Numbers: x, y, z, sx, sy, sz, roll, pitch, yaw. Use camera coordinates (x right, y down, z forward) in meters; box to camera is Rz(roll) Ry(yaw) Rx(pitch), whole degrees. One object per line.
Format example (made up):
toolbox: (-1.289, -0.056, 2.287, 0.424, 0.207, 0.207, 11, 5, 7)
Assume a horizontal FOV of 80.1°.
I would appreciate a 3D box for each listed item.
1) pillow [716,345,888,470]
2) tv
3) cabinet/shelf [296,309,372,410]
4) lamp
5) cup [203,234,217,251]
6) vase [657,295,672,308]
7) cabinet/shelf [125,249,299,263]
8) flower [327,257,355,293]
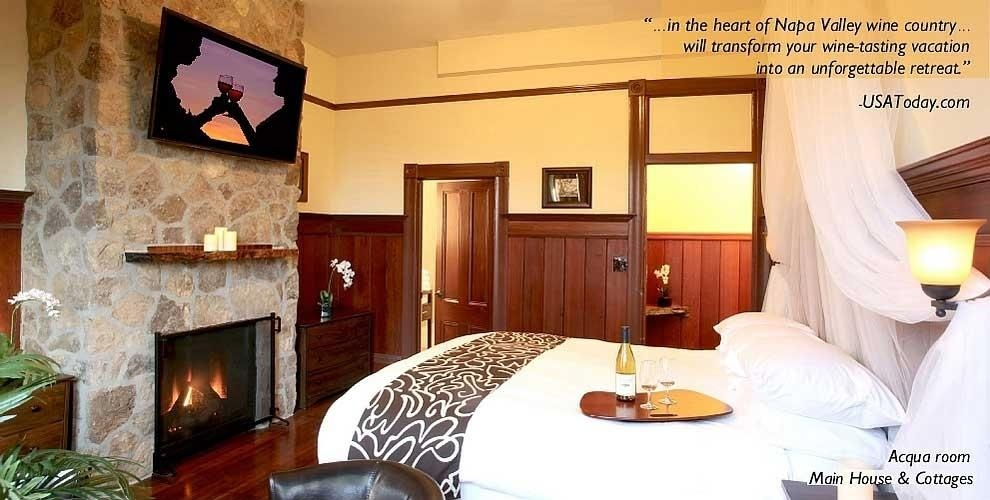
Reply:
pillow: (2.255, 1.042, 4.184, 0.800, 0.337, 1.226, 8, 8, 20)
tv: (-2.579, -1.533, 5.544, 0.192, 1.178, 1.882, 14, 3, 38)
cabinet/shelf: (-1.816, 1.232, 6.520, 0.505, 0.824, 1.208, 1, 3, 20)
lamp: (2.624, 0.107, 3.817, 0.630, 0.593, 0.566, 3, -3, -5)
cup: (-2.700, -0.062, 5.575, 0.104, 0.146, 0.209, -2, 2, -44)
vase: (2.265, 0.698, 7.808, 0.158, 0.101, 0.145, 0, -2, -6)
cabinet/shelf: (-2.635, 0.064, 5.594, 0.287, 0.129, 1.452, 1, 2, 43)
flower: (-1.992, 0.328, 7.693, 0.499, 0.309, 0.428, 3, 6, -11)
